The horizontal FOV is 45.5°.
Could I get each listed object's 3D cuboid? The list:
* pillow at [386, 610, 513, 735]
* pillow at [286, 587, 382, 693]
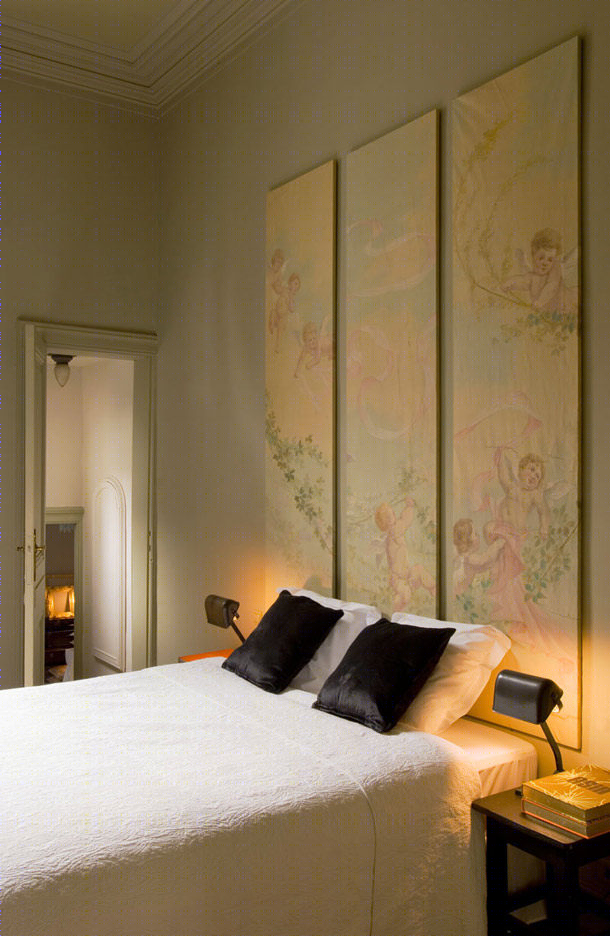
[{"bbox_3d":[0.429,0.615,2.166,0.092,0.332,0.308,36,-16,-33],"label":"pillow"},{"bbox_3d":[0.108,0.629,2.609,0.081,0.290,0.271,33,-17,-28],"label":"pillow"}]
